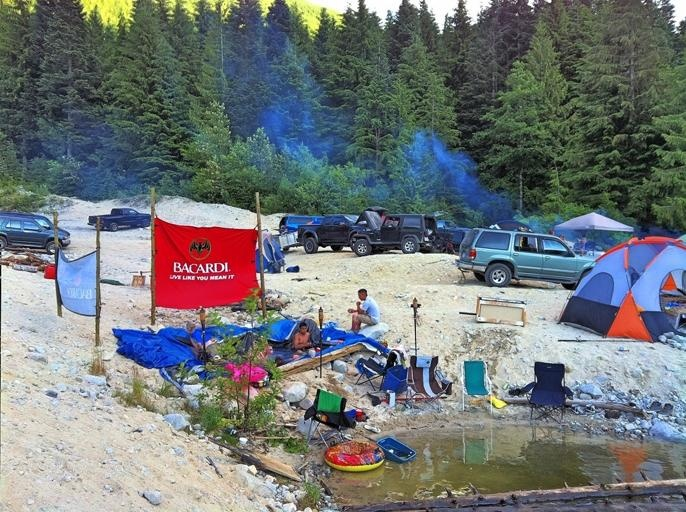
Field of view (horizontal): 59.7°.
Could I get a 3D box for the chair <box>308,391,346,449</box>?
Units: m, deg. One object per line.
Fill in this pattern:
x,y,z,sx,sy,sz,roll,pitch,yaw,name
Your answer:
-0.463,3.604,12.831,1.048,1.149,0.830,15,-18,-13,chair

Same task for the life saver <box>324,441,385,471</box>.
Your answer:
0.222,4.201,12.429,1.277,0.323,0.745,3,6,0,life saver

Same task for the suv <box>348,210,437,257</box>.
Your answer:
2.341,-0.997,28.680,3.230,1.995,2.139,3,2,13,suv

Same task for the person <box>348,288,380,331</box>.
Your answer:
0.573,1.515,16.683,0.837,1.168,0.528,2,6,-6,person

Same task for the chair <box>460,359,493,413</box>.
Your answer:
3.284,3.163,14.773,0.706,1.164,0.797,4,6,15,chair

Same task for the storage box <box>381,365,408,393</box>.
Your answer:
1.262,3.053,14.685,0.569,0.519,0.618,23,-1,34,storage box

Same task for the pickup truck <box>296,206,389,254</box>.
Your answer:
0.026,-1.371,30.900,4.336,2.315,2.076,-6,-3,34,pickup truck

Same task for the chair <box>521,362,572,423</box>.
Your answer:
4.756,3.222,13.962,0.994,1.286,1.025,-6,11,-12,chair

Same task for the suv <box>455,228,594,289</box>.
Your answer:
6.538,0.105,21.867,4.300,2.085,2.092,0,5,-2,suv

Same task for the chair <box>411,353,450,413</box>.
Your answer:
2.107,3.022,14.496,1.042,1.073,0.846,-1,8,-13,chair

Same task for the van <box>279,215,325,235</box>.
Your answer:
-2.580,-1.589,33.813,1.824,0.920,1.227,0,10,12,van
